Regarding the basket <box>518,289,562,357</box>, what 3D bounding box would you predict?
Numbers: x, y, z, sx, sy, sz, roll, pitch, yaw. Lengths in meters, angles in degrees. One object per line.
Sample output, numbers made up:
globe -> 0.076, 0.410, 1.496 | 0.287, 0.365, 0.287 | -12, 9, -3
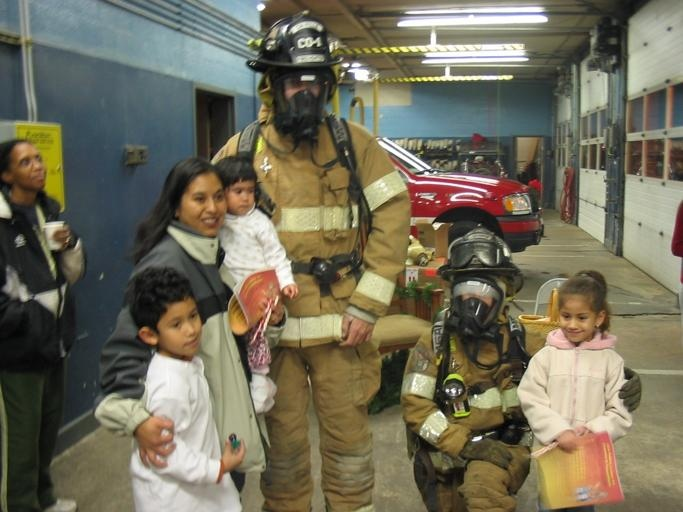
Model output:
basket -> 1.685, 0.537, 4.720 | 0.453, 0.396, 0.323 | -13, -2, 38

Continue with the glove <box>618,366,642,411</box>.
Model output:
glove -> 1.536, 0.749, 3.010 | 0.087, 0.275, 0.295 | 6, 14, 30

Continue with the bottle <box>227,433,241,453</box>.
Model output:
bottle -> -0.476, 0.824, 2.508 | 0.055, 0.058, 0.059 | -2, 12, -7

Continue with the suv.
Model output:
suv -> 2.176, -0.924, 10.142 | 3.266, 1.535, 1.637 | -1, 11, 7

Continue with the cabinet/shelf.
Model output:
cabinet/shelf -> 3.684, -3.461, 18.724 | 3.547, 1.506, 0.566 | 5, 35, 15

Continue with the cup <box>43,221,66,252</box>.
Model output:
cup -> -1.723, -0.124, 3.456 | 0.145, 0.162, 0.144 | 3, 13, -1

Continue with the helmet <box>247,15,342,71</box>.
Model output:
helmet -> -0.249, -1.171, 3.168 | 0.514, 0.323, 0.677 | -4, 12, -14

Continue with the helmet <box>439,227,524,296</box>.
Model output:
helmet -> 0.950, -0.020, 3.764 | 0.492, 0.394, 0.601 | -7, -19, 35

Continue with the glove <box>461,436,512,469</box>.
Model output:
glove -> 0.800, 1.093, 3.133 | 0.279, 0.117, 0.154 | 1, 12, 9
